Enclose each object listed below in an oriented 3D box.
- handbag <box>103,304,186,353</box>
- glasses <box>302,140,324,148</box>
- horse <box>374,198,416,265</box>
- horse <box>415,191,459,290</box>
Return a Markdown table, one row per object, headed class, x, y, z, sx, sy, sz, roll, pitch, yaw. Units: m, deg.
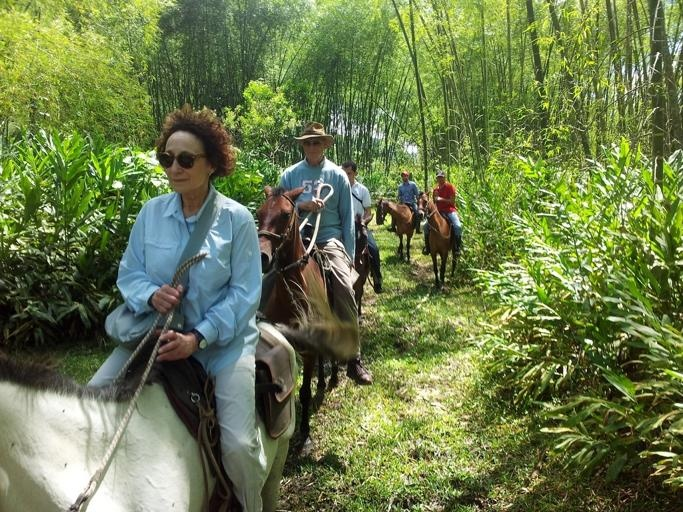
| class | x | y | z | sx | sy | sz | roll | pitch | yaw |
| --- | --- | --- | --- | --- | --- | --- | --- | --- | --- |
| handbag | -1.205 | 0.390 | 3.505 | 0.355 | 0.312 | 0.184 | -19 | -16 | -20 |
| glasses | -0.268 | -1.110 | 5.762 | 0.118 | 0.038 | 0.119 | 3 | -4 | -38 |
| horse | 1.615 | -0.553 | 13.381 | 1.766 | 1.391 | 0.502 | 1 | 1 | -28 |
| horse | 1.879 | -0.192 | 10.562 | 0.488 | 1.579 | 2.028 | -5 | -8 | 28 |
